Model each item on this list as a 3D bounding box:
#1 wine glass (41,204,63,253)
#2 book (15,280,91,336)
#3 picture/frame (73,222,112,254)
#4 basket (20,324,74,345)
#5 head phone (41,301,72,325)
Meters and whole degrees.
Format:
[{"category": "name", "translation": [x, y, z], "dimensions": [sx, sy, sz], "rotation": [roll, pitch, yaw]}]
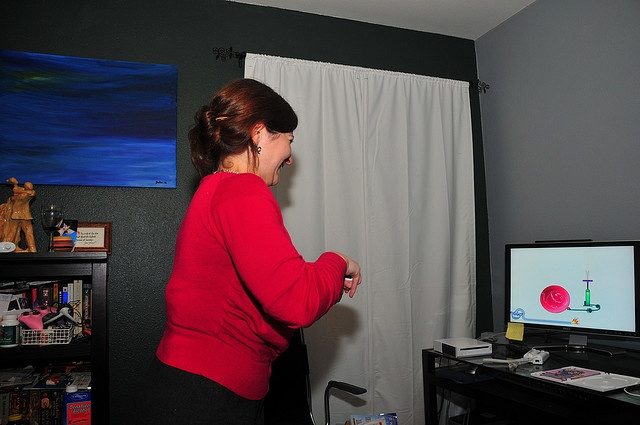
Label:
[{"category": "wine glass", "translation": [-1.739, 0.097, 3.058], "dimensions": [0.131, 0.300, 0.267], "rotation": [0, -1, -29]}, {"category": "book", "translation": [-1.672, 0.607, 2.957], "dimensions": [0.371, 0.366, 0.131], "rotation": [9, -48, -34]}, {"category": "picture/frame", "translation": [-1.526, 0.174, 3.133], "dimensions": [0.221, 0.182, 0.023], "rotation": [1, -11, -14]}, {"category": "basket", "translation": [-1.656, 0.750, 2.849], "dimensions": [0.196, 0.062, 0.136], "rotation": [-3, -7, 4]}, {"category": "head phone", "translation": [-1.639, 0.632, 2.922], "dimensions": [0.187, 0.072, 0.185], "rotation": [-11, 7, 25]}]
